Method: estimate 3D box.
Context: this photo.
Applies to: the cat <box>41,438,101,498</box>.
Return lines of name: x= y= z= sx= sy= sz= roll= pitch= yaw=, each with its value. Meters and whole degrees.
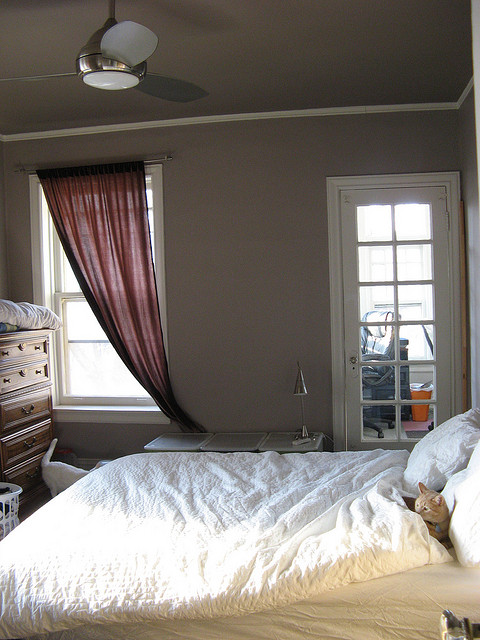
cat: x=-1.145 y=0.952 z=3.459 sx=0.219 sy=0.240 sz=0.496 roll=-7 pitch=8 yaw=-30

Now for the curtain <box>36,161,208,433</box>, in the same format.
curtain: x=-0.846 y=-0.153 z=3.821 sx=1.041 sy=1.878 sz=0.272 roll=1 pitch=8 yaw=28

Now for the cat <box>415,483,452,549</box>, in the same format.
cat: x=0.639 y=0.647 z=1.798 sx=0.108 sy=0.171 sz=0.135 roll=-1 pitch=7 yaw=15
